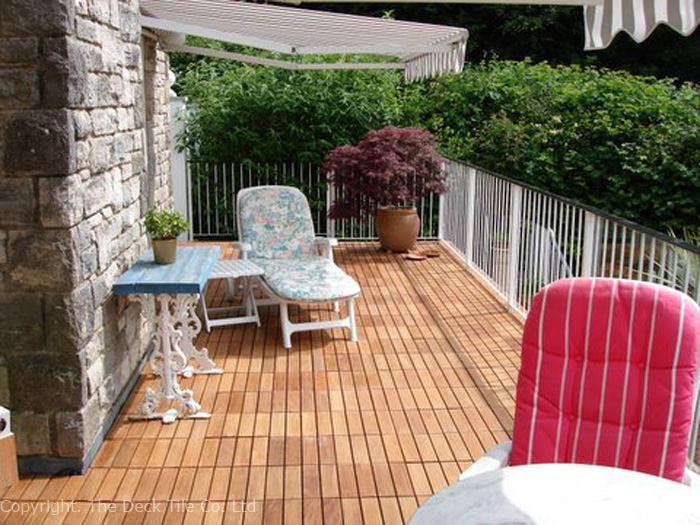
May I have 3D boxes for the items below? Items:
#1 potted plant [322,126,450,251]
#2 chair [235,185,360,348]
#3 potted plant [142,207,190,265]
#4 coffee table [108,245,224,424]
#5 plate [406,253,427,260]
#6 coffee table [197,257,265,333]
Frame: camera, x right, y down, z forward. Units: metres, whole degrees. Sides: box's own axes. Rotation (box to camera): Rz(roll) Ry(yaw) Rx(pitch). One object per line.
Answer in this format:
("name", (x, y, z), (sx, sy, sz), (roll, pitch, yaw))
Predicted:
("potted plant", (0.727, -1.267, 9.865), (2.018, 2.107, 2.038), (-5, 6, -15))
("chair", (-0.630, -0.048, 6.251), (1.143, 1.540, 1.580), (-4, 13, -17))
("potted plant", (-1.568, -0.227, 4.672), (0.306, 0.430, 0.376), (10, 8, 28))
("coffee table", (-1.503, 0.552, 4.625), (0.714, 1.197, 1.097), (-2, 12, -7))
("plate", (1.102, -0.099, 9.143), (0.366, 0.067, 0.291), (1, 12, 6))
("coffee table", (-1.263, 0.402, 6.110), (0.721, 0.834, 0.955), (-3, 20, -11))
